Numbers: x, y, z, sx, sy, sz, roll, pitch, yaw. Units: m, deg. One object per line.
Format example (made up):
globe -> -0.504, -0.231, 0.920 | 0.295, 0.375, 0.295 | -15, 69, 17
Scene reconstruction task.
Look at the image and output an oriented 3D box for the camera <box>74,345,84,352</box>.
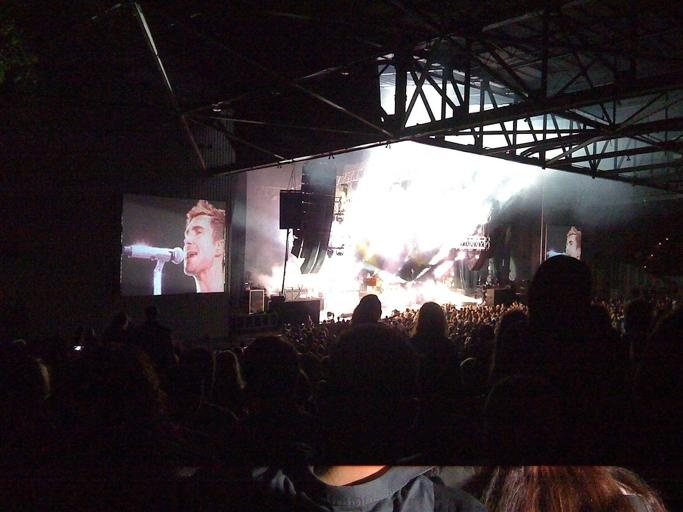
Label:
camera -> -2.932, 1.028, 6.636 | 0.073, 0.024, 0.075 | 4, 5, 14
